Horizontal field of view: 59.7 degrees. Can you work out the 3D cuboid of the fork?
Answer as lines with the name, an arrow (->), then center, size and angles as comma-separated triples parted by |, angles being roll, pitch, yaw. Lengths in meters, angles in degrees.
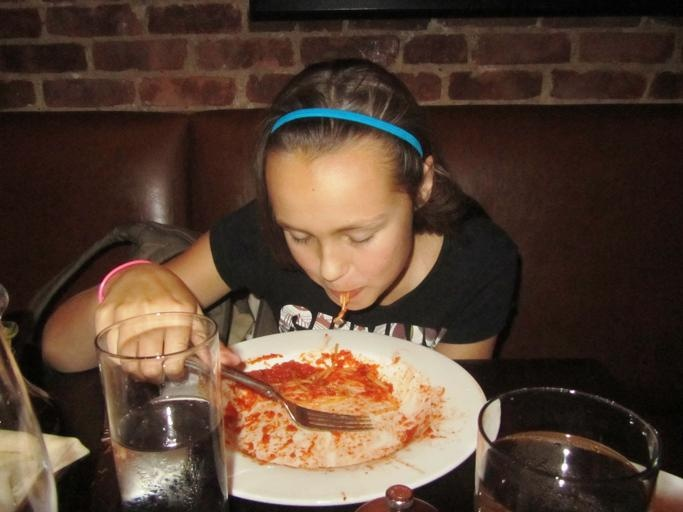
fork -> -0.130, 0.288, 1.220 | 0.482, 0.058, 0.067 | 17, 18, -1

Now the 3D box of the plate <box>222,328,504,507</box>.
plate -> 0.016, 0.308, 1.231 | 0.500, 0.145, 0.512 | 0, 17, -14
